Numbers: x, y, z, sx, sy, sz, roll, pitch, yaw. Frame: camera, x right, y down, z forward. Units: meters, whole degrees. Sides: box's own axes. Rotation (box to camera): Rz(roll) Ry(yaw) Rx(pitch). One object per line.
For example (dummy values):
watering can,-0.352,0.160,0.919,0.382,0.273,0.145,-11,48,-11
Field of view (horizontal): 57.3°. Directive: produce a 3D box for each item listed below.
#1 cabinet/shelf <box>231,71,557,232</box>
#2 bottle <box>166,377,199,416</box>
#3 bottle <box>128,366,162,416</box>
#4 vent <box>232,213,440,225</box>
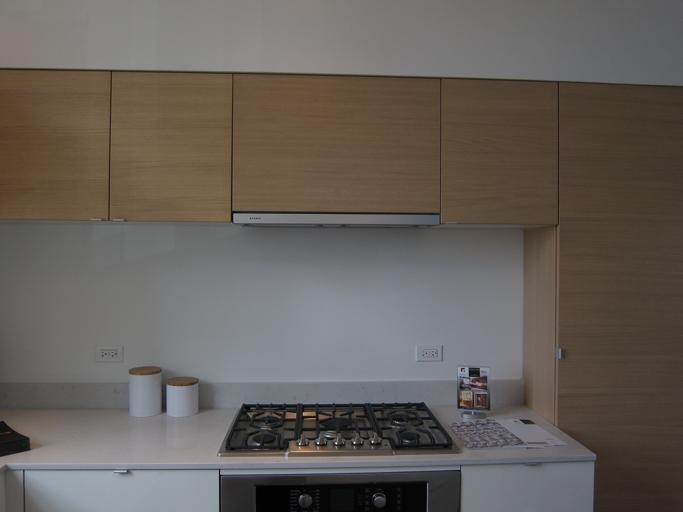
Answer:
cabinet/shelf,0.283,-0.525,3.096,1.577,0.698,0.185,0,15,-1
bottle,-0.823,0.725,3.262,0.180,0.169,0.170,1,0,6
bottle,-1.024,0.721,3.369,0.221,0.248,0.220,1,0,7
vent,-0.030,-0.184,3.078,1.024,0.056,0.044,0,14,-1
